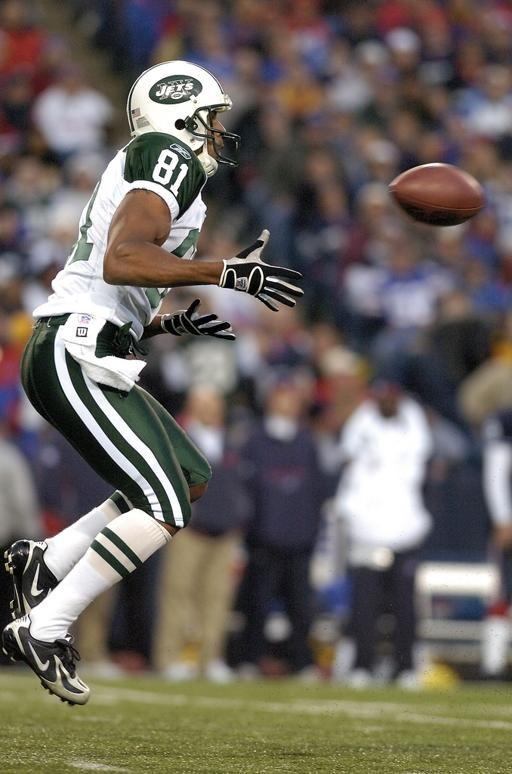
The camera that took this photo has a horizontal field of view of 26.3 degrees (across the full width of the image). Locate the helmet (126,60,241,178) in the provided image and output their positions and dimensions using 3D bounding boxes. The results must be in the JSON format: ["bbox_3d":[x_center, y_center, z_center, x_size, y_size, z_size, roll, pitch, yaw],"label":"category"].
[{"bbox_3d":[-0.229,-0.707,2.870,0.382,0.297,0.256,-2,8,-9],"label":"helmet"}]
